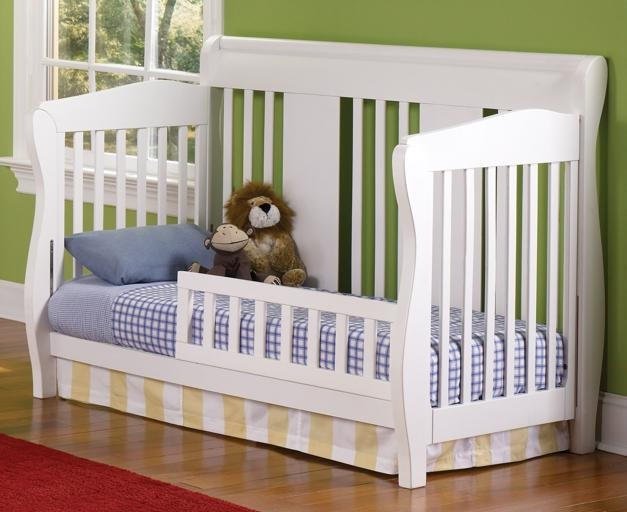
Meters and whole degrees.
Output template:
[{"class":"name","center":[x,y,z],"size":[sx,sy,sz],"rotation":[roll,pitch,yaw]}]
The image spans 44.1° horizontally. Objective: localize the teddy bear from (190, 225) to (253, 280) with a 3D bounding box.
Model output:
[{"class":"teddy bear","center":[-0.300,-0.006,2.479],"size":[0.213,0.183,0.163],"rotation":[2,-23,-3]}]

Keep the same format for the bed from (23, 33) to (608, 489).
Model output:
[{"class":"bed","center":[-0.032,-0.093,2.343],"size":[1.658,1.215,0.800],"rotation":[8,12,38]}]
